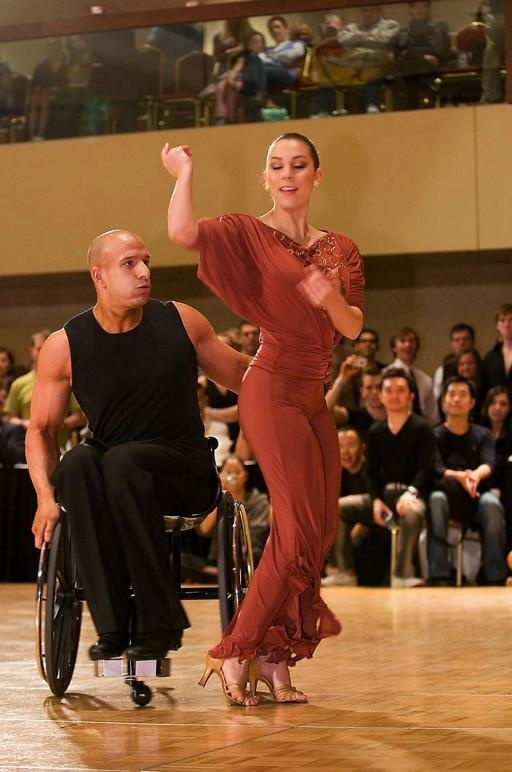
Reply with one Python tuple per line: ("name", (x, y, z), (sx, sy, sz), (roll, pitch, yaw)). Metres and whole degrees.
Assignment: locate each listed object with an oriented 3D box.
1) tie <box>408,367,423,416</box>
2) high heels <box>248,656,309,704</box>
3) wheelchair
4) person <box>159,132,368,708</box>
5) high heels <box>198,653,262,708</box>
("tie", (0.892, 0.033, 4.794), (0.060, 0.252, 0.107), (2, -1, -27))
("high heels", (0.041, 0.611, 1.757), (0.160, 0.104, 0.059), (-1, -13, 14))
("wheelchair", (-0.242, 0.405, 1.871), (0.495, 0.556, 0.448), (-11, -32, -3))
("person", (0.011, 0.041, 1.851), (0.422, 1.224, 0.349), (1, -1, 6))
("high heels", (-0.044, 0.596, 1.730), (0.059, 0.080, 0.171), (23, -19, -30))
